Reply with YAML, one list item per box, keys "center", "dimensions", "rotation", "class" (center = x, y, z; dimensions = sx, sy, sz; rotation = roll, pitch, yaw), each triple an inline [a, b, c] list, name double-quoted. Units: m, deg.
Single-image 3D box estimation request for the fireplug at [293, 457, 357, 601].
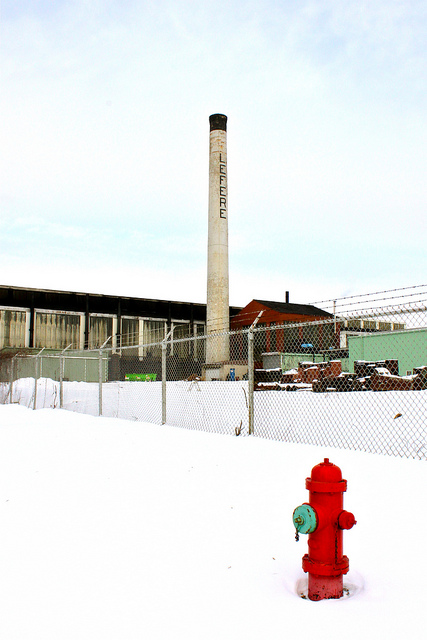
- center: [0.586, 1.090, 3.158]
  dimensions: [0.329, 0.711, 0.269]
  rotation: [-1, -2, -2]
  class: "fireplug"
